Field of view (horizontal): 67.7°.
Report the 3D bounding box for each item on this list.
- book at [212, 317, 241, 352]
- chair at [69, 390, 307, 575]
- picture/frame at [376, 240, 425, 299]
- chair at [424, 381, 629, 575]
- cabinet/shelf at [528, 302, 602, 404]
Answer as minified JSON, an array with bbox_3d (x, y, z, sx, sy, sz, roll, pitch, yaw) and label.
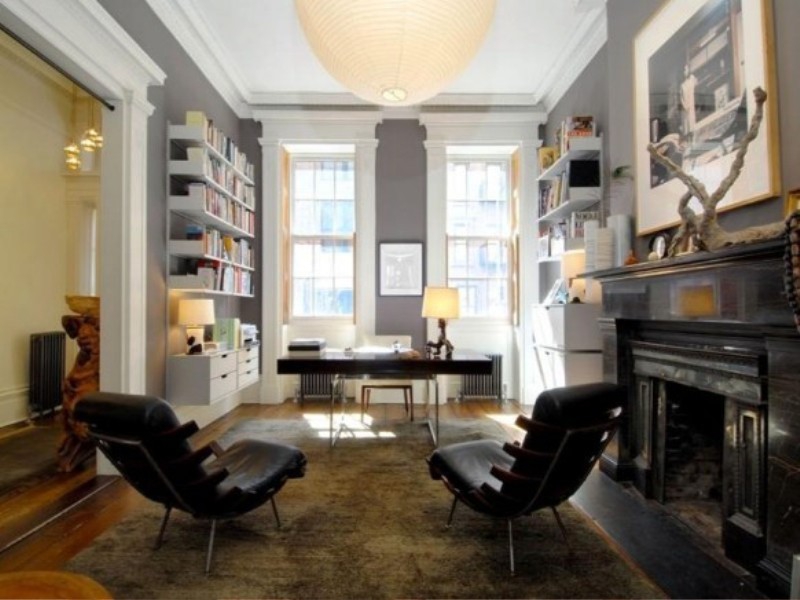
[{"bbox_3d":[-1.742,0.348,6.118,0.231,0.468,0.445,-1,-4,1],"label":"book"},{"bbox_3d":[-1.370,1.115,4.138,1.088,1.152,1.358,-2,3,36],"label":"chair"},{"bbox_3d":[-0.003,-0.353,7.361,0.627,0.838,0.064,0,-2,-2],"label":"picture/frame"},{"bbox_3d":[0.796,1.121,4.136,0.876,1.251,1.239,-3,6,-39],"label":"chair"},{"bbox_3d":[1.486,0.442,5.311,0.353,1.083,1.067,-1,-5,-4],"label":"cabinet/shelf"}]
